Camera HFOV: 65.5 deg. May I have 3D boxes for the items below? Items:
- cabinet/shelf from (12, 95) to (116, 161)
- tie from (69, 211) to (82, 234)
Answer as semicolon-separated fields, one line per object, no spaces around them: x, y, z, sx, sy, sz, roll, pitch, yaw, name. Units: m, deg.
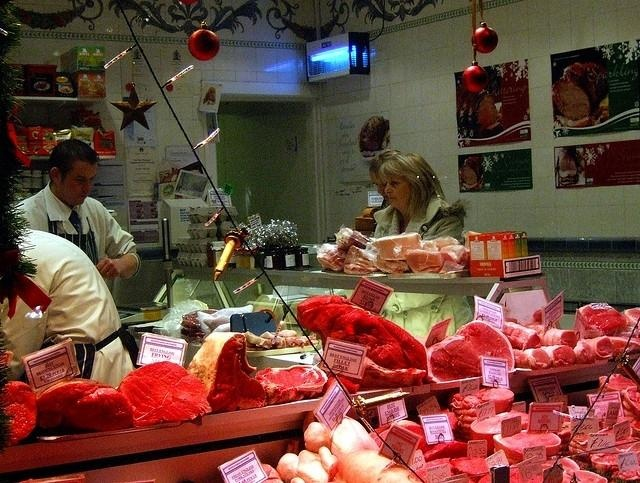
-2.536;-1.098;4.915;1.125;0.678;0.409;0;-1;-9;cabinet/shelf
-1.578;-0.124;3.248;0.040;0.124;0.065;-3;16;21;tie
